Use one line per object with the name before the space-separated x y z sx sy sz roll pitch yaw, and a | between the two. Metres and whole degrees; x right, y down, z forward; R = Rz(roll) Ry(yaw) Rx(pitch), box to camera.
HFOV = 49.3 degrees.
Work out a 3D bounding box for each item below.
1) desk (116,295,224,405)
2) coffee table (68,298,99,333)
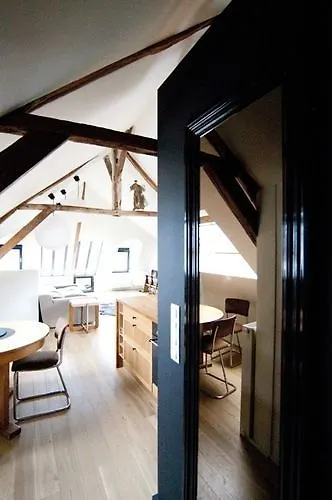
desk | -0.126 0.892 3.448 0.401 0.836 1.140 -5 9 -28
coffee table | -1.254 0.973 5.508 0.444 0.458 0.578 0 1 -13
